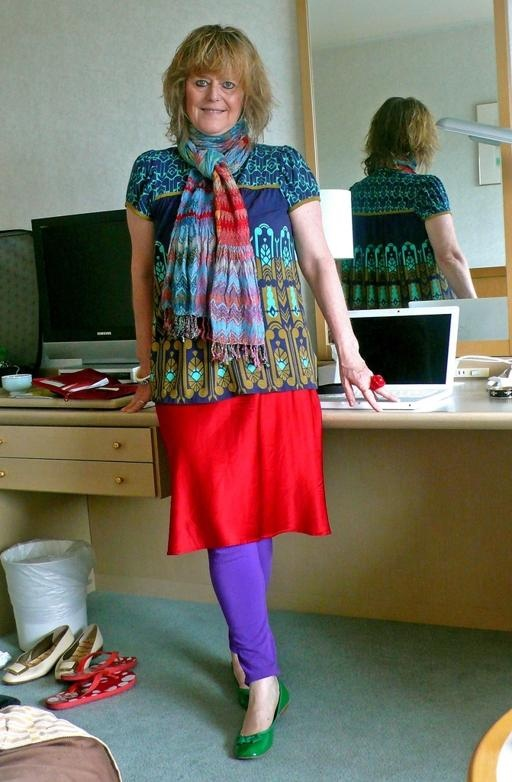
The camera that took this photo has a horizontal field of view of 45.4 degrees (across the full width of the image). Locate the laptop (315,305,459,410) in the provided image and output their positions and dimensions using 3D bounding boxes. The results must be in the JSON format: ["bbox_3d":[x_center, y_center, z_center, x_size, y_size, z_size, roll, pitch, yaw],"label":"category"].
[{"bbox_3d":[0.322,-0.074,1.506,0.370,0.197,0.342,-3,14,10],"label":"laptop"}]

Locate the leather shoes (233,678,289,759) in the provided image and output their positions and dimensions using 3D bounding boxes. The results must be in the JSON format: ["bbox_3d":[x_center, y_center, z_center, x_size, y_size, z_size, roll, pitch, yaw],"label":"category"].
[{"bbox_3d":[0.017,0.691,1.283,0.053,0.060,0.153,-29,12,31],"label":"leather shoes"}]

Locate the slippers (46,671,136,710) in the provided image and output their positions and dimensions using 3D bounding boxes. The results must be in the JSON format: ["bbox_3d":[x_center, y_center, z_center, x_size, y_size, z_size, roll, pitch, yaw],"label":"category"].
[{"bbox_3d":[-0.407,0.744,1.516,0.141,0.038,0.077,-11,8,-37],"label":"slippers"}]

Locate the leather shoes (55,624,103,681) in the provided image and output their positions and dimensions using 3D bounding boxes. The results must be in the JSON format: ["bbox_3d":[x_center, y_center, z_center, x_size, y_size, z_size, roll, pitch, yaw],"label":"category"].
[{"bbox_3d":[-0.484,0.718,1.677,0.065,0.072,0.198,-2,7,14],"label":"leather shoes"}]

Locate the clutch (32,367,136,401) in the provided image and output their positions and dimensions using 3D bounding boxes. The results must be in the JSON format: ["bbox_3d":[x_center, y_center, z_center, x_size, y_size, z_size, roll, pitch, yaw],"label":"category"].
[{"bbox_3d":[-0.482,-0.013,1.713,0.154,0.022,0.159,7,14,17],"label":"clutch"}]

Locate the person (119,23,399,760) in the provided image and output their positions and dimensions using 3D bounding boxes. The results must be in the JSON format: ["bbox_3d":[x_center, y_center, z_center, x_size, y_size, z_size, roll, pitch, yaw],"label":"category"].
[{"bbox_3d":[-0.029,-0.025,1.237,0.549,1.388,0.393,-1,-2,5],"label":"person"}]

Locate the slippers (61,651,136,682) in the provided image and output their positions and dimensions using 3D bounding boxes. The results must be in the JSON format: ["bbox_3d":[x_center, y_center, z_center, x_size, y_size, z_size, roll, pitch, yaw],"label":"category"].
[{"bbox_3d":[-0.422,0.725,1.624,0.176,0.047,0.069,-11,9,-43],"label":"slippers"}]

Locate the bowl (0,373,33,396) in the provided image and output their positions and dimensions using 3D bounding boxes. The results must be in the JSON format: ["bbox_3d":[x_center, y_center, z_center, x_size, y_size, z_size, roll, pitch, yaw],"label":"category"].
[{"bbox_3d":[-0.753,-0.018,1.912,0.084,0.056,0.080,-2,8,0],"label":"bowl"}]

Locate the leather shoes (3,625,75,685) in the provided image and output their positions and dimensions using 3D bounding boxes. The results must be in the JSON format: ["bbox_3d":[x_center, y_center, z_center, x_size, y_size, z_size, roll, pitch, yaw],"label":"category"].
[{"bbox_3d":[-0.596,0.720,1.689,0.071,0.051,0.189,-5,7,21],"label":"leather shoes"}]

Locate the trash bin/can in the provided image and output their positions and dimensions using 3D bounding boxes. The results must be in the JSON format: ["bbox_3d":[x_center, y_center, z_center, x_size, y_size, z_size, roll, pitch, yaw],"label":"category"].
[{"bbox_3d":[-0.575,0.577,1.871,0.261,0.315,0.310,-1,3,16],"label":"trash bin/can"}]
